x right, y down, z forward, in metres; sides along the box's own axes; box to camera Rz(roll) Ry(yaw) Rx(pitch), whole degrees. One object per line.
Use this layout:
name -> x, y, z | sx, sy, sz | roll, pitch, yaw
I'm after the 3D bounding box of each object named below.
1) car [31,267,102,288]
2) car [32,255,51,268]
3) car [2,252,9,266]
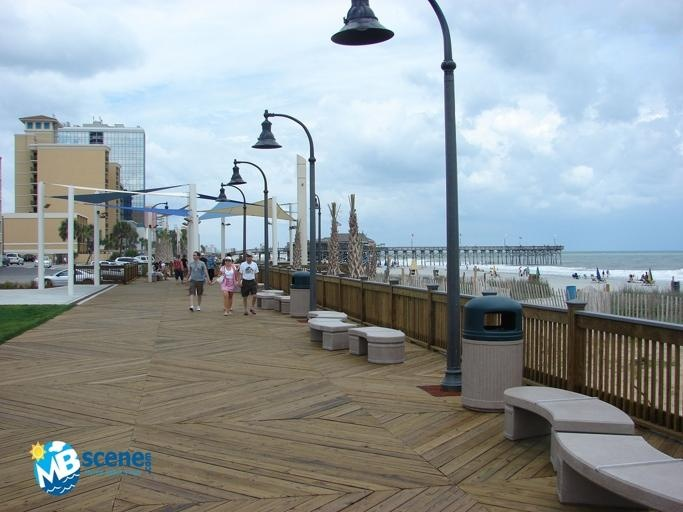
car -> -16.786, 1.351, 37.794 | 4.079, 1.366, 1.911 | 1, -3, -11
car -> -33.440, 0.594, 68.491 | 1.597, 1.372, 2.627 | 0, -2, -34
car -> -46.882, 0.391, 85.987 | 1.502, 1.232, 2.481 | -2, 9, -26
